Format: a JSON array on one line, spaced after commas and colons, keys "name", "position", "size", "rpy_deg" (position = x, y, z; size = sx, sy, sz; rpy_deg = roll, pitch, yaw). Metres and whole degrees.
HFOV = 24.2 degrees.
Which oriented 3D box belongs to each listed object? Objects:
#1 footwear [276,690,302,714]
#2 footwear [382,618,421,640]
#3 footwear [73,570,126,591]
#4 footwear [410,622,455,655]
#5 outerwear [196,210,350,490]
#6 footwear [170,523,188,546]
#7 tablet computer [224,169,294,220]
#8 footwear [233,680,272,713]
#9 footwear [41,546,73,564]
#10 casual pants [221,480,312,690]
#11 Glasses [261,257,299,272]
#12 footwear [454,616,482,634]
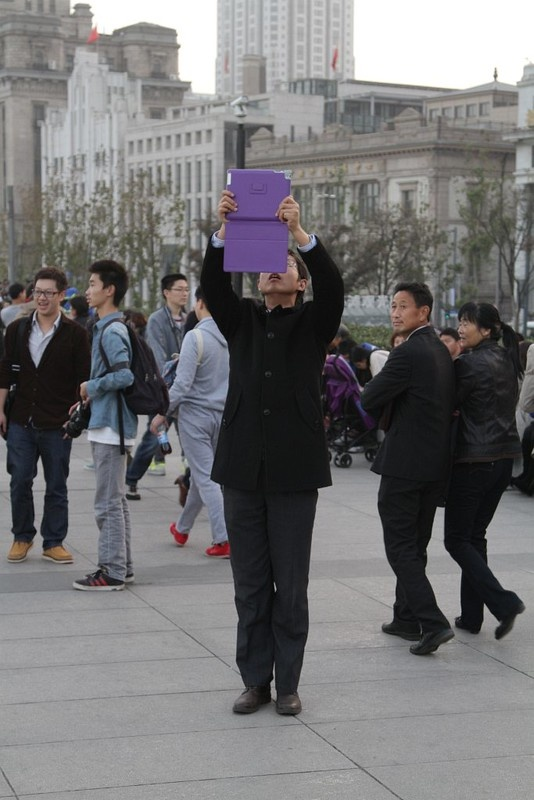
[{"name": "footwear", "position": [0.084, 1.233, 5.040], "size": [0.105, 0.078, 0.096], "rpy_deg": [1, 3, 0]}, {"name": "footwear", "position": [0.672, 1.174, 6.405], "size": [0.077, 0.092, 0.210], "rpy_deg": [-5, 16, -42]}, {"name": "footwear", "position": [-0.995, 1.064, 7.349], "size": [0.323, 0.144, 0.113], "rpy_deg": [4, -4, -2]}, {"name": "footwear", "position": [0.781, 1.161, 6.029], "size": [0.099, 0.130, 0.287], "rpy_deg": [-5, -20, -34]}, {"name": "outerwear", "position": [0.001, -0.154, 5.132], "size": [0.601, 1.049, 0.341], "rpy_deg": [1, 3, 3]}, {"name": "footwear", "position": [-0.638, 0.961, 8.955], "size": [0.077, 0.082, 0.211], "rpy_deg": [1, 23, -14]}, {"name": "tablet computer", "position": [-0.044, -0.827, 4.916], "size": [0.282, 0.205, 0.193], "rpy_deg": [3, 8, 4]}, {"name": "footwear", "position": [-0.055, 1.232, 5.086], "size": [0.066, 0.087, 0.192], "rpy_deg": [-1, -5, 31]}, {"name": "footwear", "position": [-1.379, 1.017, 8.161], "size": [0.085, 0.096, 0.250], "rpy_deg": [1, -2, -40]}, {"name": "casual pants", "position": [-0.012, 0.795, 5.145], "size": [0.374, 0.864, 0.242], "rpy_deg": [2, 3, 11]}, {"name": "Glasses", "position": [0.068, -0.548, 5.019], "size": [0.103, 0.061, 0.101], "rpy_deg": [0, 1, -7]}, {"name": "footwear", "position": [1.048, 1.185, 6.553], "size": [0.055, 0.063, 0.150], "rpy_deg": [1, 7, -17]}]
